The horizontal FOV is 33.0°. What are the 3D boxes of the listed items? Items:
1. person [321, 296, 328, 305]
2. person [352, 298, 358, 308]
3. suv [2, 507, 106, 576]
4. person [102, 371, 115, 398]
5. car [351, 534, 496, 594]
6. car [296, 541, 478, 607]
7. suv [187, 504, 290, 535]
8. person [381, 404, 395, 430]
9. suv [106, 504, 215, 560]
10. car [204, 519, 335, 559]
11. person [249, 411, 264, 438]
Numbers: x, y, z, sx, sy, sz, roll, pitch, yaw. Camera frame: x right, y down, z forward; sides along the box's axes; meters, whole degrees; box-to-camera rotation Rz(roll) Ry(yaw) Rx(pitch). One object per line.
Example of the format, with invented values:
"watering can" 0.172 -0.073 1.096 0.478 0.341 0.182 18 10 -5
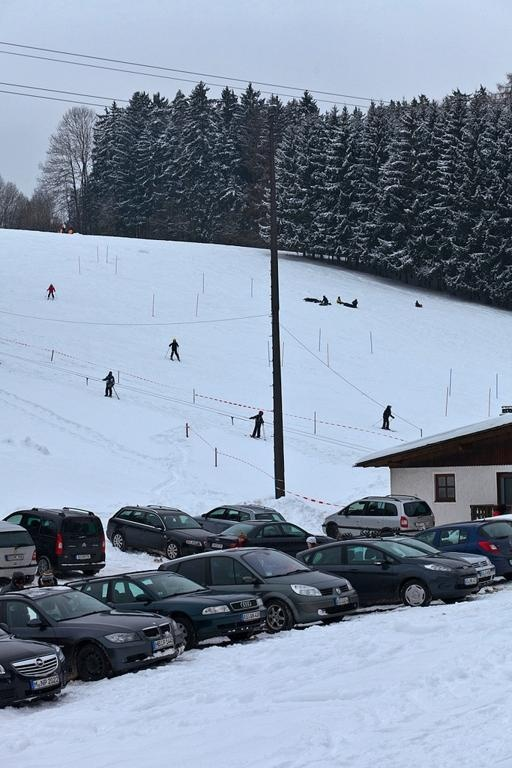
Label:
"person" 5.217 -6.354 65.837 0.664 0.872 1.588 1 -3 6
"person" 7.626 -6.289 67.131 0.412 0.804 1.146 0 -3 6
"suv" -4.527 3.351 19.393 1.240 1.118 2.191 3 3 -44
"person" -6.920 -0.024 40.164 0.468 1.287 2.518 1 -3 -10
"car" 3.092 3.085 15.330 1.954 0.747 0.943 -3 -4 32
"car" 2.382 3.265 14.716 2.449 1.015 1.277 -11 -12 36
"suv" -0.637 3.632 23.784 1.950 0.786 0.970 3 0 42
"person" 6.637 1.684 43.778 0.612 1.284 2.963 0 -3 9
"suv" -2.365 3.728 22.048 2.645 1.033 1.156 0 -2 40
"car" 0.135 3.705 21.247 2.806 1.061 1.313 -1 -1 -32
"person" -0.044 1.827 39.236 0.488 1.254 1.696 1 -3 -1
